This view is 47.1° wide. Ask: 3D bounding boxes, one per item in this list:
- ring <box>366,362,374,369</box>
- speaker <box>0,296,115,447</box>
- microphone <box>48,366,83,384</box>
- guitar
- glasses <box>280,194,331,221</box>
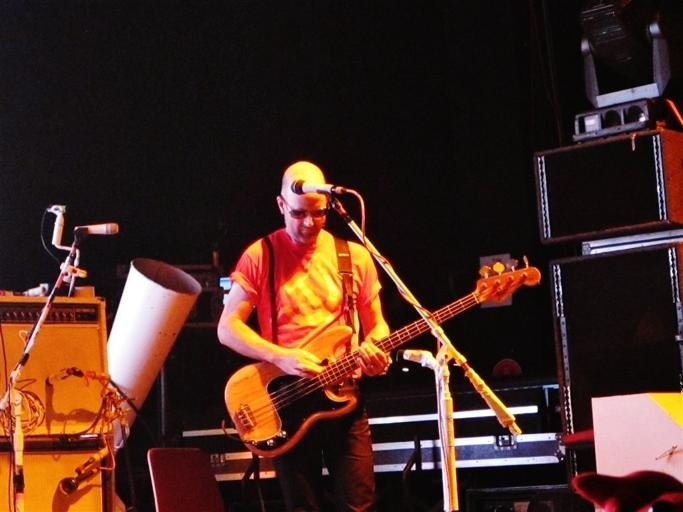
[{"bbox_3d":[0.143,0.548,3.902,0.040,0.020,0.021,-4,-17,-2],"label":"ring"},{"bbox_3d":[-1.439,0.617,4.401,0.822,0.813,0.606,2,-11,-19],"label":"speaker"},{"bbox_3d":[-1.423,0.616,4.072,0.175,0.080,0.073,3,-18,-21],"label":"microphone"},{"bbox_3d":[0.076,0.561,3.970,1.379,0.814,0.182,-9,-17,16],"label":"guitar"},{"bbox_3d":[-0.184,-0.262,4.040,0.223,0.149,0.148,-6,-17,5],"label":"glasses"}]
